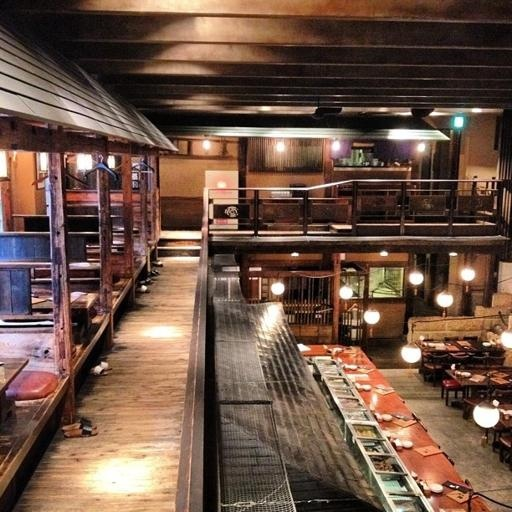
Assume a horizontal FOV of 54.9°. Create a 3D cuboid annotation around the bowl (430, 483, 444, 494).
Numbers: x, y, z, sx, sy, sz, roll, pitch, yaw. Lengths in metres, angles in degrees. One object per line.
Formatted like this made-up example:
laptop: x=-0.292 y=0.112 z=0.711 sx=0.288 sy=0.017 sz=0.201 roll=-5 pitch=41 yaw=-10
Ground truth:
bowl: x=2.598 y=3.383 z=7.116 sx=0.186 sy=0.076 sz=0.226 roll=1 pitch=4 yaw=19
